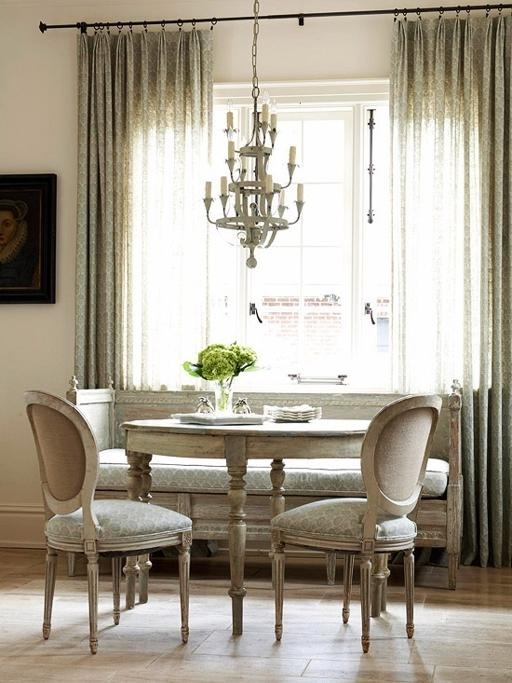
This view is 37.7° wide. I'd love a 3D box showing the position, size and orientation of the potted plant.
[{"bbox_3d":[-0.150,0.166,2.879,0.251,0.295,0.253,-7,-7,39],"label":"potted plant"}]
